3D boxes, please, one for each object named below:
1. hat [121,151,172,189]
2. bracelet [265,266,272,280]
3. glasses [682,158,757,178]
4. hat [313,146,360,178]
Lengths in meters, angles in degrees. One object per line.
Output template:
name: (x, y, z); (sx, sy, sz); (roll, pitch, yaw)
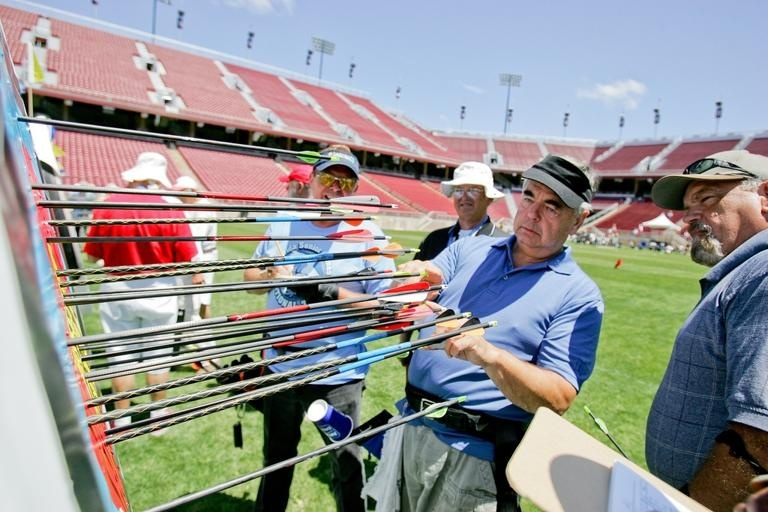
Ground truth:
hat: (-2.080, -0.705, 4.598); (0.450, 0.243, 0.427); (3, 21, -32)
bracelet: (-0.699, 0.100, 3.097); (0.033, 0.084, 0.164); (-1, 8, -14)
glasses: (1.657, -0.442, 2.562); (0.184, 0.053, 0.162); (15, 0, 1)
hat: (-0.283, -0.606, 3.250); (0.222, 0.134, 0.327); (11, 6, -11)
